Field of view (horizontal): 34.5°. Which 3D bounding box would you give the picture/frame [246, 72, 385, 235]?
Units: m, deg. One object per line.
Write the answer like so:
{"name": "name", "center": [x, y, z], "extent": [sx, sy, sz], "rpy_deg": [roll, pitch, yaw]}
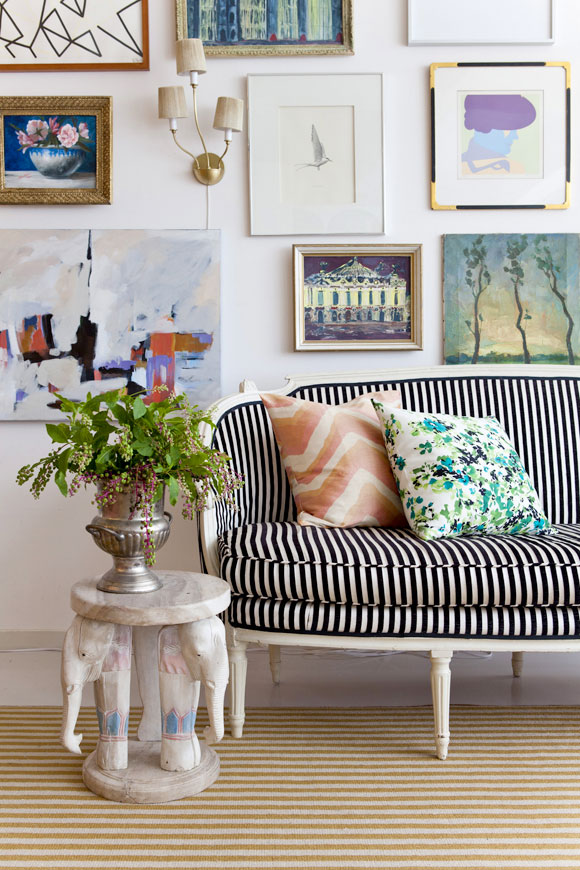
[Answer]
{"name": "picture/frame", "center": [0.080, -0.860, 2.858], "extent": [0.535, 0.549, 0.044], "rpy_deg": [-1, 3, 0]}

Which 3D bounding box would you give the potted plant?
{"name": "potted plant", "center": [-0.298, 0.133, 2.076], "extent": [0.469, 0.389, 0.323], "rpy_deg": [9, 5, 35]}

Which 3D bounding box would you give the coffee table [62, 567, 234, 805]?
{"name": "coffee table", "center": [-0.293, 0.533, 2.062], "extent": [0.451, 0.472, 0.433], "rpy_deg": [1, -4, -2]}

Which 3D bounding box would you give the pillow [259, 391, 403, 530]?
{"name": "pillow", "center": [0.161, 0.079, 2.531], "extent": [0.442, 0.341, 0.241], "rpy_deg": [1, 8, -39]}

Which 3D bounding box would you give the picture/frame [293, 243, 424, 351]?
{"name": "picture/frame", "center": [0.203, -0.425, 2.874], "extent": [0.364, 0.275, 0.025], "rpy_deg": [0, 4, -1]}

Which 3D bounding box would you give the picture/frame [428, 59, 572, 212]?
{"name": "picture/frame", "center": [0.635, -0.924, 2.866], "extent": [0.507, 0.439, 0.020], "rpy_deg": [0, 4, 1]}

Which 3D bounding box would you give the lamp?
{"name": "lamp", "center": [-0.271, -0.955, 2.823], "extent": [0.259, 0.413, 0.142], "rpy_deg": [0, 8, -4]}

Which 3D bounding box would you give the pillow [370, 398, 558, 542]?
{"name": "pillow", "center": [0.437, 0.085, 2.421], "extent": [0.534, 0.466, 0.134], "rpy_deg": [14, -39, -23]}
